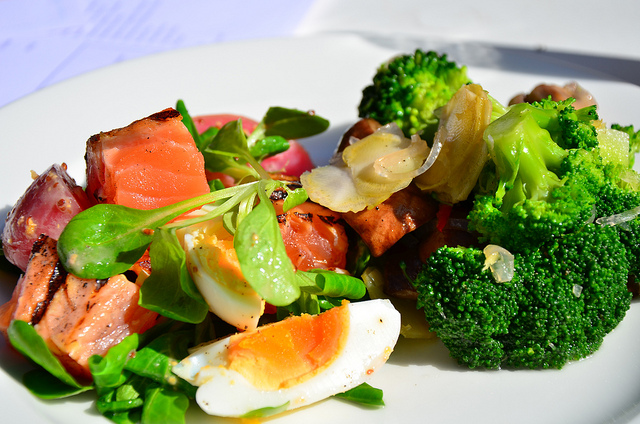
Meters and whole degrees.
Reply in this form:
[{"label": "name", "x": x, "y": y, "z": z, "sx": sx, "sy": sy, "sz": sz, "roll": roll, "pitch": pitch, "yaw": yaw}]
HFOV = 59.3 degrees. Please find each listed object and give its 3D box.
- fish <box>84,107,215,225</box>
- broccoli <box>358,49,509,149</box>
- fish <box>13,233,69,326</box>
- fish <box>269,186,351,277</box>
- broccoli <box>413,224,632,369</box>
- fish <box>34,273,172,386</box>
[{"label": "fish", "x": -0.766, "y": -0.219, "z": 2.409, "sx": 0.490, "sy": 0.332, "sz": 0.330, "roll": -17, "pitch": 33, "yaw": -22}, {"label": "broccoli", "x": 0.574, "y": -0.608, "z": 2.865, "sx": 0.582, "sy": 0.315, "sz": 0.565, "roll": 13, "pitch": 43, "yaw": 3}, {"label": "fish", "x": -1.100, "y": 0.273, "z": 2.268, "sx": 0.172, "sy": 0.088, "sz": 0.340, "roll": 24, "pitch": 78, "yaw": 7}, {"label": "fish", "x": -0.057, "y": 0.110, "z": 2.517, "sx": 0.374, "sy": 0.114, "sz": 0.380, "roll": -5, "pitch": 71, "yaw": -37}, {"label": "broccoli", "x": 0.851, "y": 0.363, "z": 2.320, "sx": 0.871, "sy": 0.577, "sz": 0.272, "roll": -3, "pitch": 30, "yaw": 0}, {"label": "fish", "x": -0.888, "y": 0.421, "z": 2.209, "sx": 0.416, "sy": 0.420, "sz": 0.150, "roll": -47, "pitch": 19, "yaw": -18}]
